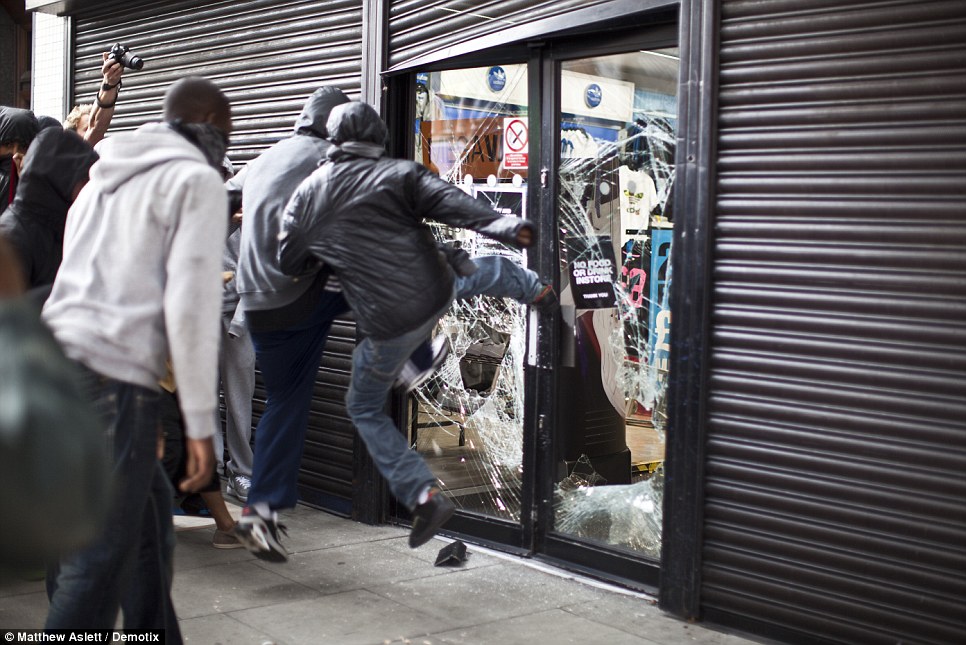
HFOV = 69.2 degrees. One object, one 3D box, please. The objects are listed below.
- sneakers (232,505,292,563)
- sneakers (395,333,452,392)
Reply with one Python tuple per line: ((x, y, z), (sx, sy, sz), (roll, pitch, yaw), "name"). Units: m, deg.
((-1.486, 1.430, 4.702), (0.149, 0.409, 0.191), (-39, 0, 30), "sneakers")
((-0.380, 0.245, 4.634), (0.272, 0.463, 0.141), (43, 7, -6), "sneakers")
